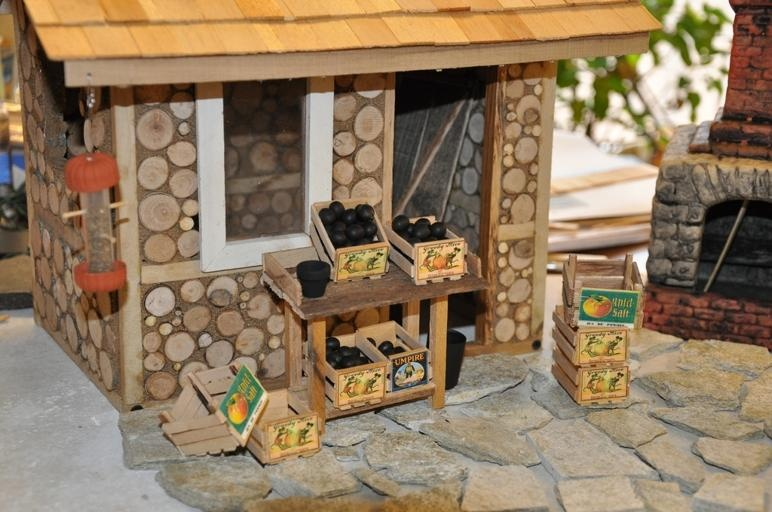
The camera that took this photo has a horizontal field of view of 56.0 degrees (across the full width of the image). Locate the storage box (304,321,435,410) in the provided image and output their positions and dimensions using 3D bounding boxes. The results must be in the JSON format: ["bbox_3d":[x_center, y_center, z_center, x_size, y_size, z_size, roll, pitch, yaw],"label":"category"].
[{"bbox_3d":[-0.161,0.908,5.984,0.940,0.370,0.669,-12,26,-25],"label":"storage box"}]

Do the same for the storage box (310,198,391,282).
[{"bbox_3d":[-0.323,-0.117,6.102,0.663,0.634,0.456,-10,21,-25],"label":"storage box"}]

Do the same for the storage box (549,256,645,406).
[{"bbox_3d":[1.853,0.684,6.596,0.719,1.345,0.773,-3,13,-15],"label":"storage box"}]

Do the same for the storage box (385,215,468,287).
[{"bbox_3d":[0.310,-0.106,6.200,0.695,0.505,0.555,-9,21,-21],"label":"storage box"}]
